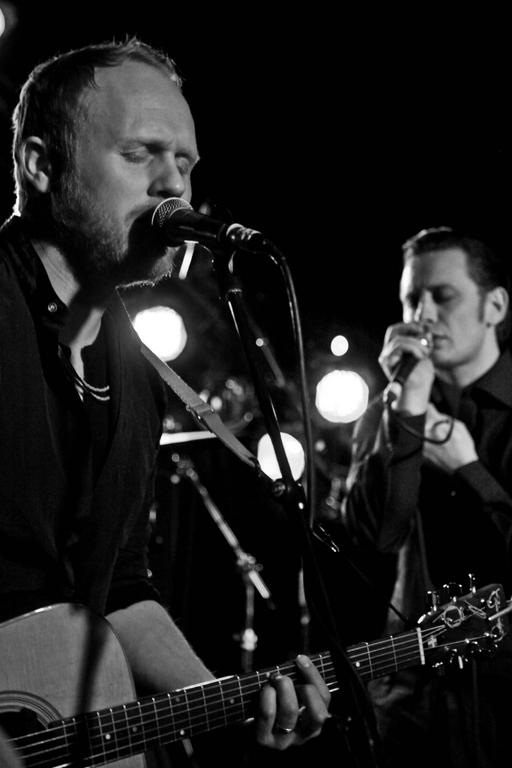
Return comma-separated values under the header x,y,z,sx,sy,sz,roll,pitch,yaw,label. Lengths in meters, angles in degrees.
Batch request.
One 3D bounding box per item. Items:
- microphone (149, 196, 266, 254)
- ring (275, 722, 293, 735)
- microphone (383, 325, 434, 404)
x,y,z,sx,sy,sz,roll,pitch,yaw,label
-0.093,-0.350,1.852,0.096,0.107,0.304,9,4,-43,microphone
0.060,0.777,1.904,0.037,0.022,0.025,-1,-21,0,ring
0.470,-0.078,2.649,0.070,0.275,0.098,16,-4,-15,microphone
